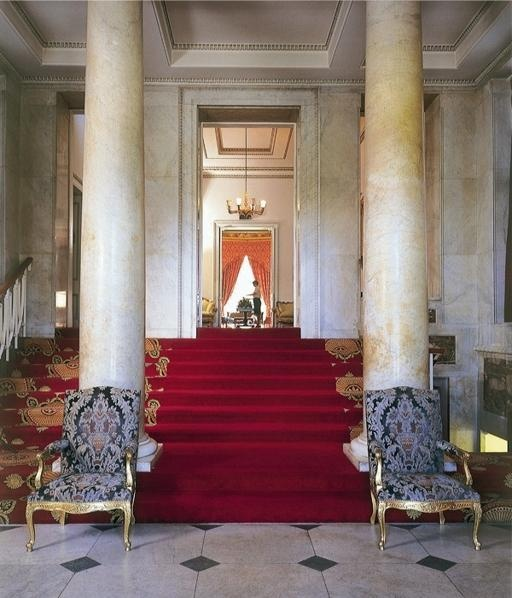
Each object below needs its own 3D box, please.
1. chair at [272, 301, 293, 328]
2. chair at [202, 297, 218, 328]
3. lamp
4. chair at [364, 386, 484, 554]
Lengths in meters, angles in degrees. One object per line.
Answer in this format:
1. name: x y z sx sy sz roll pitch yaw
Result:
1. chair: 0.655 0.329 11.925 0.500 0.725 0.515 0 -5 2
2. chair: -1.171 0.300 12.618 0.572 0.816 0.557 0 -4 -6
3. lamp: -0.256 -2.880 12.452 0.941 1.902 2.104 1 8 0
4. chair: 1.143 1.137 3.436 0.779 0.927 0.792 2 8 3
